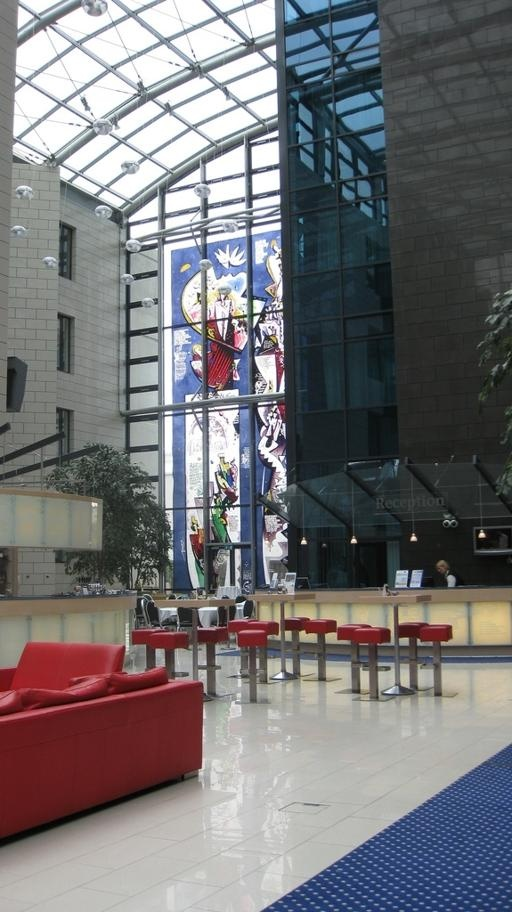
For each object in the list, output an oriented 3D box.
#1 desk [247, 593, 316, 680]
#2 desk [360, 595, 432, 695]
[{"bbox_3d":[0.378,2.415,10.207,0.695,1.035,0.746,-11,-14,32],"label":"desk"},{"bbox_3d":[1.612,2.047,8.564,0.527,1.061,1.629,-3,-11,11],"label":"desk"}]
